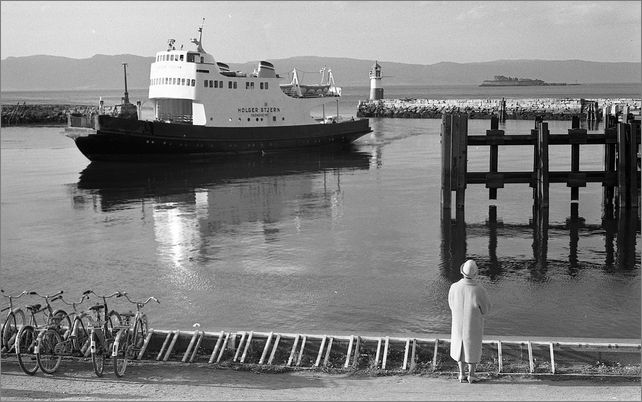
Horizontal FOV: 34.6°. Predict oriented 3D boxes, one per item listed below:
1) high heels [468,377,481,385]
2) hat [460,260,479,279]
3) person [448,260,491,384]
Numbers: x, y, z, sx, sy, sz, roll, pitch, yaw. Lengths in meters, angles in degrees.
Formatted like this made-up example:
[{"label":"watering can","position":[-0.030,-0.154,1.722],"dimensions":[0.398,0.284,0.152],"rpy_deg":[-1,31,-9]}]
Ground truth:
[{"label":"high heels","position":[4.277,5.080,29.073],"dimensions":[0.462,0.189,0.142],"rpy_deg":[-9,11,-25]},{"label":"hat","position":[4.157,1.953,28.911],"dimensions":[0.602,0.619,0.273],"rpy_deg":[-2,-6,7]},{"label":"person","position":[4.159,3.430,28.976],"dimensions":[1.090,3.489,0.446],"rpy_deg":[-2,6,5]}]
